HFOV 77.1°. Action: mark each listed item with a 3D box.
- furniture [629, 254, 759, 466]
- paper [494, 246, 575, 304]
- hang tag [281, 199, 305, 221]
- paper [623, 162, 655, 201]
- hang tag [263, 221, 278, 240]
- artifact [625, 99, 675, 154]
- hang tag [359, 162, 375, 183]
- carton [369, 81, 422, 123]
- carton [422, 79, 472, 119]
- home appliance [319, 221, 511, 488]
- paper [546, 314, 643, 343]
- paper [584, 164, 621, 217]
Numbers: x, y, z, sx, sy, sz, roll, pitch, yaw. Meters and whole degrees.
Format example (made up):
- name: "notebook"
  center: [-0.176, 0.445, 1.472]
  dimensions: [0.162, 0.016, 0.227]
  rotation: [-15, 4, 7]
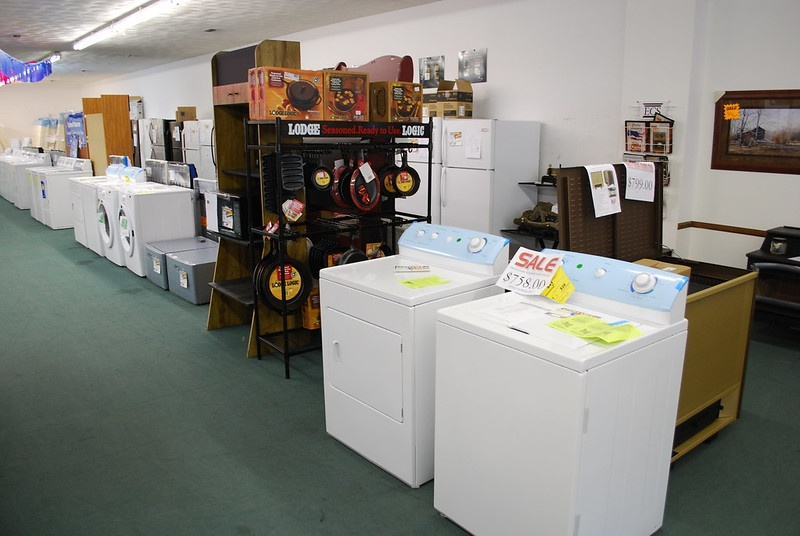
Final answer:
- name: "furniture"
  center: [1.944, 0.618, 3.748]
  dimensions: [0.801, 1.380, 0.819]
  rotation: [-15, 23, -21]
- name: "paper"
  center: [0.816, -0.011, 2.975]
  dimensions: [0.320, 0.272, 0.354]
  rotation: [18, 32, 33]
- name: "hang tag"
  center: [-0.915, -0.487, 4.264]
  dimensions: [0.174, 0.178, 0.048]
  rotation: [25, 0, -19]
- name: "paper"
  center: [1.729, -0.623, 3.665]
  dimensions: [0.256, 0.247, 0.090]
  rotation: [-7, 9, -35]
- name: "hang tag"
  center: [-1.112, -0.329, 4.325]
  dimensions: [0.116, 0.138, 0.228]
  rotation: [-5, 16, -15]
- name: "artifact"
  center: [2.739, -1.541, 5.543]
  dimensions: [0.446, 0.503, 0.185]
  rotation: [15, 33, 43]
- name: "hang tag"
  center: [-0.270, -0.783, 4.117]
  dimensions: [0.119, 0.156, 0.046]
  rotation: [-48, 30, -17]
- name: "carton"
  center: [-0.022, -1.446, 4.448]
  dimensions: [0.439, 0.354, 0.351]
  rotation: [-8, 19, -30]
- name: "carton"
  center: [0.681, -2.333, 6.968]
  dimensions: [0.352, 0.462, 0.666]
  rotation: [-9, 19, -35]
- name: "home appliance"
  center: [0.112, 0.542, 3.611]
  dimensions: [0.898, 1.561, 1.141]
  rotation: [-8, 11, -36]
- name: "paper"
  center: [1.000, 0.321, 2.604]
  dimensions: [0.435, 0.043, 0.291]
  rotation: [8, 18, 28]
- name: "paper"
  center: [1.397, -0.531, 3.490]
  dimensions: [0.324, 0.358, 0.046]
  rotation: [-12, 5, -33]
